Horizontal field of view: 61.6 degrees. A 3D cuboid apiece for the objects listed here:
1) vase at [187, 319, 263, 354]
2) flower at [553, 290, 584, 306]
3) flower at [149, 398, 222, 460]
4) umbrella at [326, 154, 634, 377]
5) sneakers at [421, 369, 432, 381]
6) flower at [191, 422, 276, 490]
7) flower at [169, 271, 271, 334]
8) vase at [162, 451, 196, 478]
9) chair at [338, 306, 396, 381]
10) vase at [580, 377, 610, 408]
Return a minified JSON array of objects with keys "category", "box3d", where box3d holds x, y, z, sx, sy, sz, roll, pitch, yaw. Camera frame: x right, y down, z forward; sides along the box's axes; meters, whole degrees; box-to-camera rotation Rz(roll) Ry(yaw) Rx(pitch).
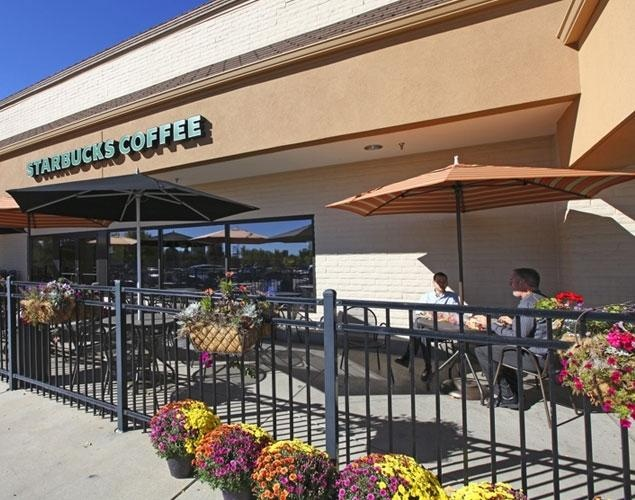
[{"category":"vase","box3d":[-0.932,0.872,5.232,0.685,0.309,0.236,-1,-5,14]},{"category":"flower","box3d":[2.904,0.554,6.099,0.315,0.127,0.278,1,1,-10]},{"category":"flower","box3d":[-1.325,1.827,5.401,0.693,0.571,0.700,-12,-8,44]},{"category":"umbrella","box3d":[1.913,-0.125,7.046,3.570,2.084,3.322,-1,-7,-8]},{"category":"sneakers","box3d":[1.426,1.659,7.067,0.113,0.117,0.301,28,-11,13]},{"category":"flower","box3d":[-0.733,1.833,4.831,0.641,0.316,0.546,5,7,-35]},{"category":"flower","box3d":[-0.954,0.453,5.254,0.732,0.299,0.714,0,2,43]},{"category":"vase","box3d":[-1.343,2.094,5.156,0.305,0.171,0.281,-3,-24,4]},{"category":"chair","box3d":[0.633,1.244,7.374,0.806,0.845,0.743,0,-13,-12]},{"category":"vase","box3d":[2.177,1.094,4.100,0.248,0.227,0.111,-27,-8,40]}]
